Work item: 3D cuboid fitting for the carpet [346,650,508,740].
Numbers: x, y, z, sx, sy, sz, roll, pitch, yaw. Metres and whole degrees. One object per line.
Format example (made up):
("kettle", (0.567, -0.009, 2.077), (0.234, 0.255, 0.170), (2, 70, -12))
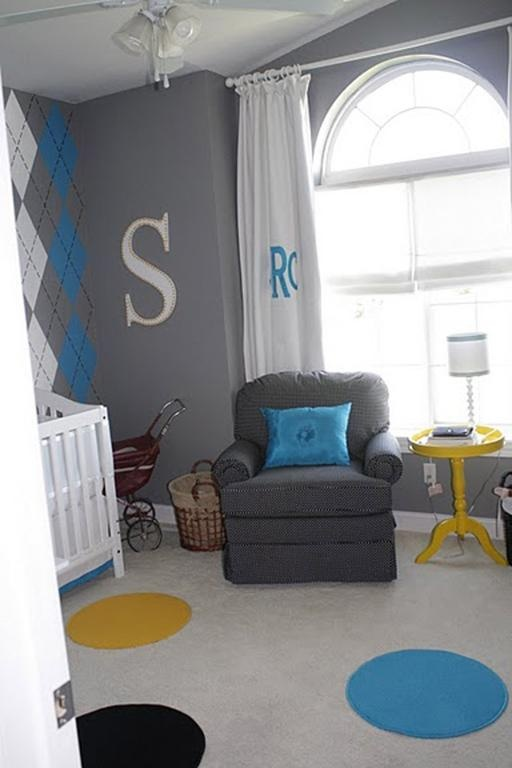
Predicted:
("carpet", (0.592, 1.074, 2.071), (0.547, 0.018, 0.495), (-4, 6, 7))

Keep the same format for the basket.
("basket", (-0.340, 0.764, 3.607), (0.380, 0.453, 0.431), (-3, -5, -4))

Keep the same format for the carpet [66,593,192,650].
("carpet", (-0.591, 1.101, 2.757), (0.592, 0.009, 0.520), (-4, 6, 7))

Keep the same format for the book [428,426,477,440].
("book", (1.020, 0.249, 3.065), (0.210, 0.037, 0.218), (-2, 7, 22))

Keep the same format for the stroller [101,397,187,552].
("stroller", (-0.732, 0.565, 3.624), (0.503, 0.674, 0.386), (1, 0, 7))

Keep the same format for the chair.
("chair", (0.327, 0.507, 3.333), (0.927, 1.091, 1.068), (-2, -2, 12))

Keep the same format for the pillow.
("pillow", (0.280, 0.303, 3.271), (0.472, 0.369, 0.175), (-1, -13, 9))

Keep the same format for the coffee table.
("coffee table", (1.114, 0.588, 3.168), (0.458, 0.715, 0.550), (0, 8, 37))

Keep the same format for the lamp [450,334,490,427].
("lamp", (1.136, -0.026, 3.177), (0.204, 0.498, 0.377), (-3, 6, 11))
